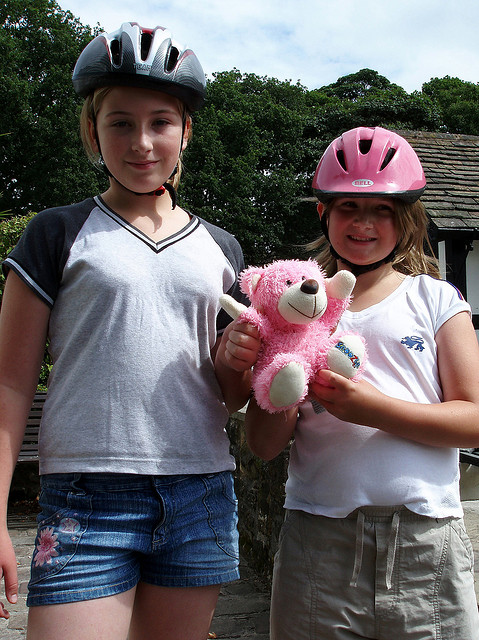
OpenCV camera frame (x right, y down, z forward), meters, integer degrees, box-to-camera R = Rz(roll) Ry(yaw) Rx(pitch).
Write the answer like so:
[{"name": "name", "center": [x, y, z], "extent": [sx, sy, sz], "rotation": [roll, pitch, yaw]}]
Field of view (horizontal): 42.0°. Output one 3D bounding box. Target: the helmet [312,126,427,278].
[{"name": "helmet", "center": [0.419, -0.461, 2.312], "extent": [0.487, 0.474, 0.550], "rotation": [2, 5, 14]}]

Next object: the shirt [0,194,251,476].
[{"name": "shirt", "center": [-0.304, 0.032, 1.721], "extent": [0.660, 0.774, 0.344], "rotation": [1, 1, -13]}]

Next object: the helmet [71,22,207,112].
[{"name": "helmet", "center": [-0.309, -0.792, 1.919], "extent": [0.410, 0.188, 0.507], "rotation": [3, 9, -19]}]

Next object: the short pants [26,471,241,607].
[{"name": "short pants", "center": [-0.307, 0.564, 1.689], "extent": [0.629, 0.285, 0.295], "rotation": [8, -22, -35]}]

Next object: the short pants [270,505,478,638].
[{"name": "short pants", "center": [0.398, 0.732, 1.791], "extent": [0.504, 0.387, 0.258], "rotation": [0, -17, 9]}]

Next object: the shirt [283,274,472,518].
[{"name": "shirt", "center": [0.429, 0.230, 1.918], "extent": [0.554, 0.765, 0.352], "rotation": [1, 1, 3]}]
